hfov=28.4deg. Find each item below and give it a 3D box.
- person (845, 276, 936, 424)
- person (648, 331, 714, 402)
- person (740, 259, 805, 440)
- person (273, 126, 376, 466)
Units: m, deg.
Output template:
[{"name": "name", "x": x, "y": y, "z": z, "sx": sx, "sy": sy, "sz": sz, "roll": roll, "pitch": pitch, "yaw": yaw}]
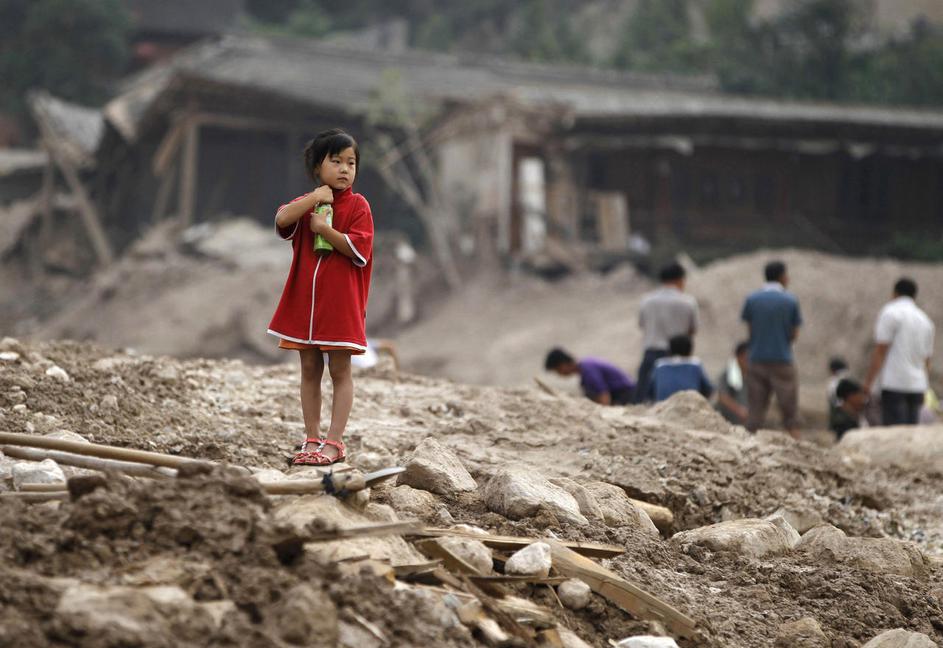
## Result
[{"name": "person", "x": 5.170, "y": 0.330, "z": 22.269, "sx": 0.756, "sy": 1.727, "sz": 0.436, "roll": 1, "pitch": 1, "yaw": 8}, {"name": "person", "x": 2.608, "y": 0.527, "z": 22.678, "sx": 0.713, "sy": 0.761, "sz": 0.234, "roll": 1, "pitch": 1, "yaw": 7}, {"name": "person", "x": 3.631, "y": 0.287, "z": 22.344, "sx": 0.692, "sy": 2.066, "sz": 0.460, "roll": 1, "pitch": 1, "yaw": 10}, {"name": "person", "x": -1.537, "y": -0.281, "z": 19.369, "sx": 0.980, "sy": 3.450, "sz": 0.303, "roll": 1, "pitch": 1, "yaw": -8}]
